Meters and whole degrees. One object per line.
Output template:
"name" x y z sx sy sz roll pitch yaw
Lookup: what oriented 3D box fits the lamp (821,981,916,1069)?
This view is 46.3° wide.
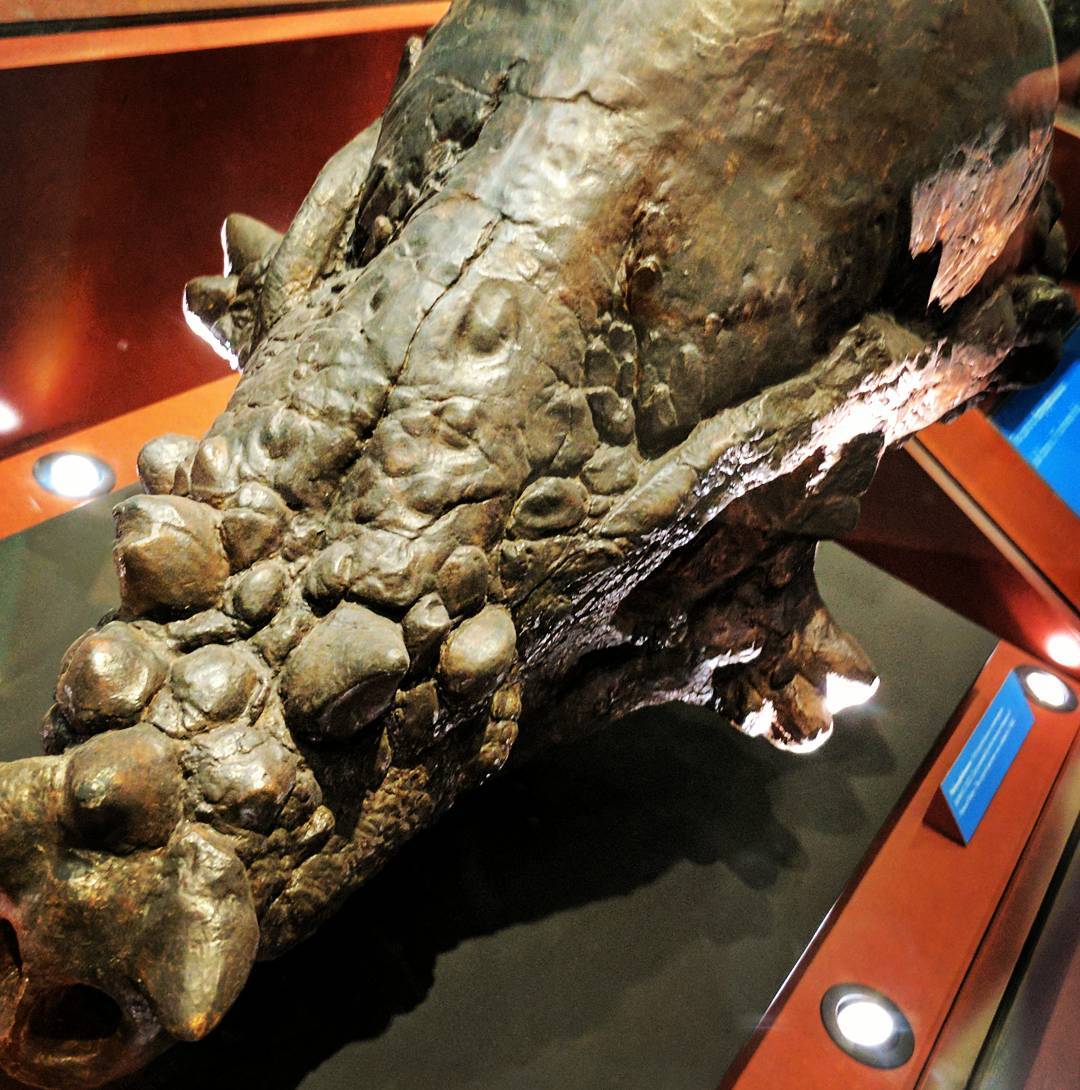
"lamp" 0.451 0.635 1.729 0.135 0.178 0.036 -3 30 34
